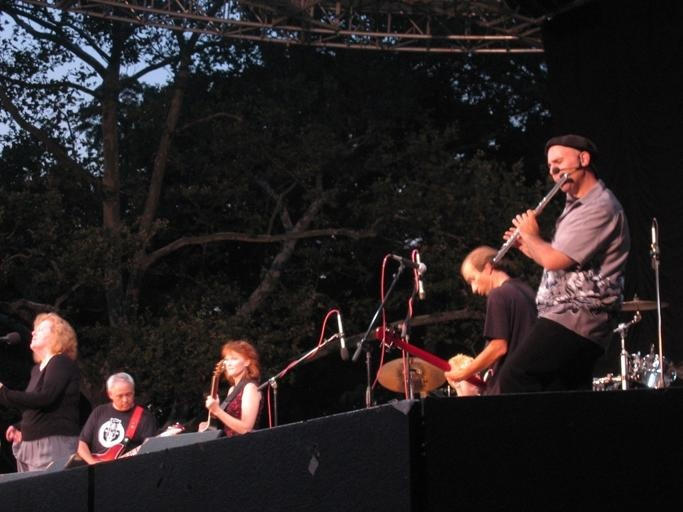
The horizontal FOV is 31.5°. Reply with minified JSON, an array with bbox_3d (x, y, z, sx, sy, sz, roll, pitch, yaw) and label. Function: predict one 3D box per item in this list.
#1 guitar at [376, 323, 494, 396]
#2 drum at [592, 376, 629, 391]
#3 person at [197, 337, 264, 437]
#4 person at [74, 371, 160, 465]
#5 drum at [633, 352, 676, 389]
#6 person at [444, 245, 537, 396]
[{"bbox_3d":[0.920,1.174,14.723,0.811,0.902,0.865,-13,2,1],"label":"guitar"},{"bbox_3d":[3.582,1.698,16.076,0.472,0.233,0.447,-2,-3,0],"label":"drum"},{"bbox_3d":[-1.376,1.711,15.430,0.731,1.465,0.789,0,0,32],"label":"person"},{"bbox_3d":[-2.845,2.216,15.802,0.820,1.389,0.799,0,-2,27],"label":"person"},{"bbox_3d":[4.268,1.578,16.530,0.603,0.246,0.464,1,-51,26],"label":"drum"},{"bbox_3d":[1.782,0.743,14.086,0.850,1.933,0.914,1,1,-15],"label":"person"}]
